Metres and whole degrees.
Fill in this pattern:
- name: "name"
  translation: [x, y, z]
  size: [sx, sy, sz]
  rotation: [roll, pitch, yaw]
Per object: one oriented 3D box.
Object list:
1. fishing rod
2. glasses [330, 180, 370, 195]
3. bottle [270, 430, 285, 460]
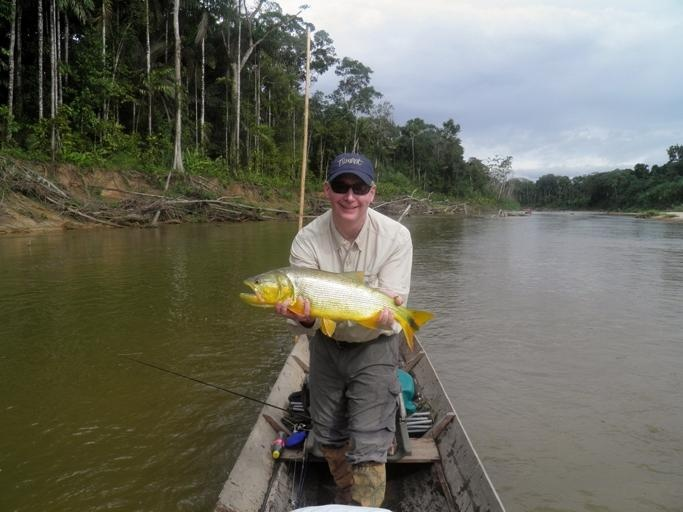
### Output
- name: "fishing rod"
  translation: [-1.681, 1.705, 6.045]
  size: [3.289, 0.065, 0.053]
  rotation: [19, 6, 17]
- name: "glasses"
  translation: [0.057, -0.600, 4.087]
  size: [0.332, 0.126, 0.055]
  rotation: [2, 13, -1]
- name: "bottle"
  translation: [-0.638, 1.820, 4.590]
  size: [0.078, 0.079, 0.233]
  rotation: [4, 27, 8]
